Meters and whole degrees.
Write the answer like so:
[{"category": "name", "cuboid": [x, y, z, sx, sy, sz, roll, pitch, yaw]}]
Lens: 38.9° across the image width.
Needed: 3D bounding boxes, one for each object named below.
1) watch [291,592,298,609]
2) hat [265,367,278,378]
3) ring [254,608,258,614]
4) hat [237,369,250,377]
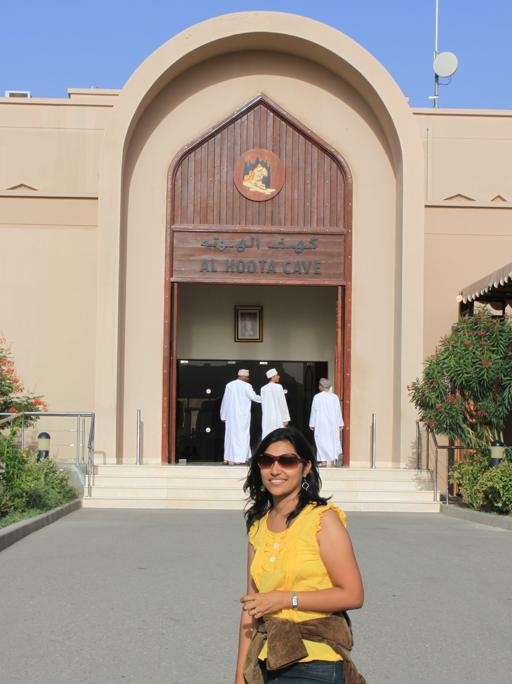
[{"category": "watch", "cuboid": [0.096, 0.648, 1.817, 0.019, 0.032, 0.029, 1, -11, -4]}, {"category": "hat", "cuboid": [0.348, 0.619, 14.910, 0.192, 0.213, 0.260, -16, -14, -21]}, {"category": "ring", "cuboid": [-0.001, 0.671, 1.809, 0.003, 0.011, 0.008, 5, -7, 0]}, {"category": "hat", "cuboid": [-0.293, 0.649, 14.863, 0.177, 0.118, 0.179, 1, -5, -35]}]
